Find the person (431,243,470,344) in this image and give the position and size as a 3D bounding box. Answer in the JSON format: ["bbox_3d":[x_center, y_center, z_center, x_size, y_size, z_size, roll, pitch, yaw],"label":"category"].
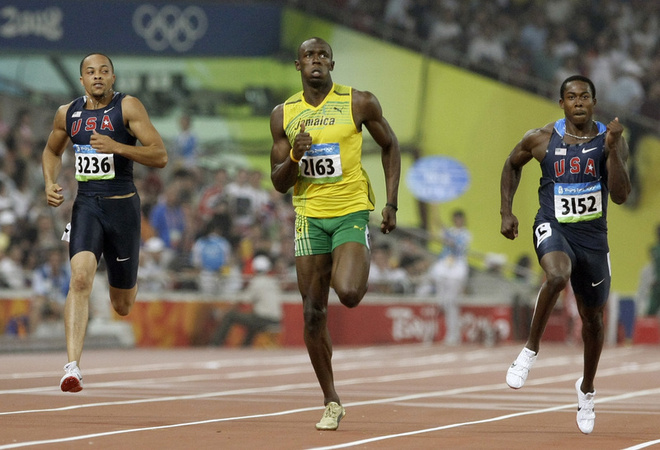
[{"bbox_3d":[2.200,1.228,17.038,0.712,2.478,0.620,8,28,5],"label":"person"}]

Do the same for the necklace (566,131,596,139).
[{"bbox_3d":[2.256,-0.814,7.780,0.232,0.032,0.028,12,26,30],"label":"necklace"}]

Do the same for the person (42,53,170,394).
[{"bbox_3d":[-2.230,-0.088,8.324,0.998,2.435,1.071,-1,3,-35],"label":"person"}]

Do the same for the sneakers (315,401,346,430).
[{"bbox_3d":[-0.005,1.662,7.532,0.208,0.239,0.334,1,3,15],"label":"sneakers"}]

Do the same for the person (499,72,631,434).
[{"bbox_3d":[2.104,0.234,7.823,1.105,3.190,0.782,1,2,18],"label":"person"}]

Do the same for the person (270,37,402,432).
[{"bbox_3d":[0.038,0.057,7.529,1.149,3.386,0.741,0,2,-4],"label":"person"}]

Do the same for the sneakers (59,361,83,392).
[{"bbox_3d":[-2.297,1.377,7.586,0.185,0.191,0.417,0,-40,-7],"label":"sneakers"}]

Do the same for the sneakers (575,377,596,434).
[{"bbox_3d":[2.242,1.569,7.647,0.176,0.530,0.227,1,-24,3],"label":"sneakers"}]
